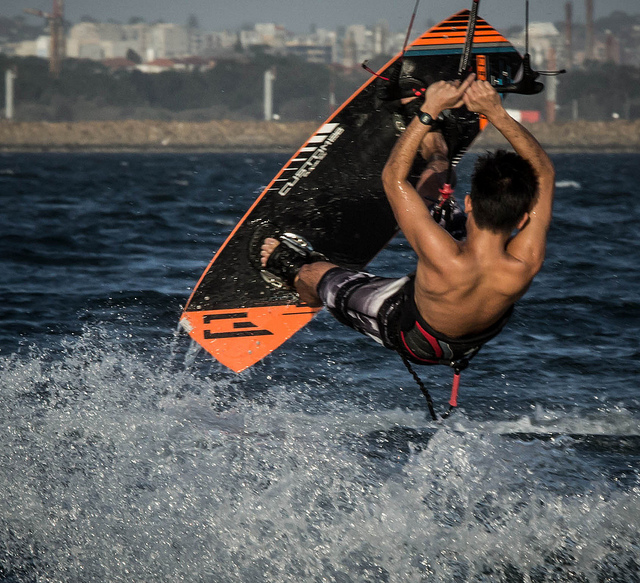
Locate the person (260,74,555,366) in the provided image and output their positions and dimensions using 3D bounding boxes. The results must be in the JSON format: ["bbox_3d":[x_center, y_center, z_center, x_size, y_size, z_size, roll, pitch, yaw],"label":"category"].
[{"bbox_3d":[0.805,-0.523,7.195,0.979,2.080,1.682,-9,16,-31],"label":"person"}]

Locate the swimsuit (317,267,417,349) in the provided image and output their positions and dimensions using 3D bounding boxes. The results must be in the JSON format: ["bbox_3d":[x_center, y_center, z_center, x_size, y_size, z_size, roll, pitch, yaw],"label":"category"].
[{"bbox_3d":[0.335,0.115,7.497,0.324,0.532,0.851,-8,14,-30],"label":"swimsuit"}]
